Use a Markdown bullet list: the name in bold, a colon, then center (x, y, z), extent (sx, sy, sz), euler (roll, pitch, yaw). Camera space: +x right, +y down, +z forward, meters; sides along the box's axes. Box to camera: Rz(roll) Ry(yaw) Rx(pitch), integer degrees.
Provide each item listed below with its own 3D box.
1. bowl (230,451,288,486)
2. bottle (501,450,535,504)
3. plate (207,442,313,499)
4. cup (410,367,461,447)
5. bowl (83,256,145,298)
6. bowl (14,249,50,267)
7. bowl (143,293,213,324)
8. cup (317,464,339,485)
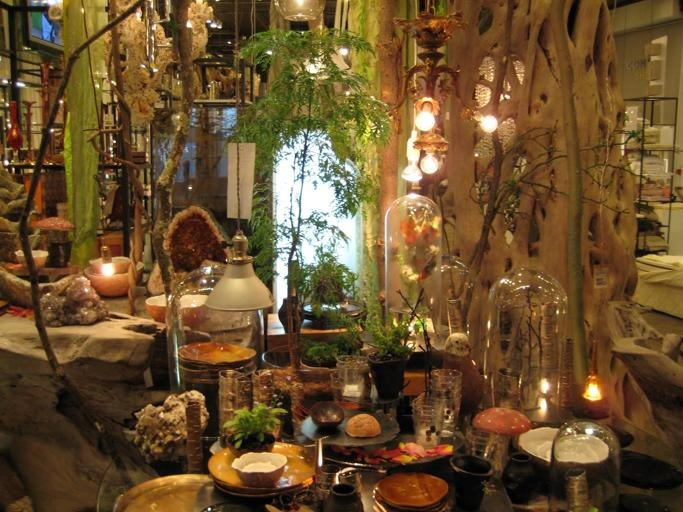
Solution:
- **bowl**: center (-0.367, 0.966, 2.696), extent (0.251, 0.105, 0.204), euler (1, 1, -6)
- **bottle**: center (0.782, 1.044, 2.777), extent (0.145, 0.190, 0.198), euler (-2, -14, 14)
- **plate**: center (-0.380, 0.998, 2.681), extent (0.259, 0.046, 0.264), euler (2, 4, 31)
- **cup**: center (0.474, 0.758, 2.981), extent (0.236, 0.304, 0.312), euler (-1, -5, 7)
- **bowl**: center (-2.250, 0.217, 6.053), extent (0.552, 0.364, 0.562), euler (0, 2, 0)
- **bowl**: center (-2.335, 0.023, 4.539), extent (0.158, 0.080, 0.159), euler (-1, 4, 0)
- **bowl**: center (-1.116, 0.370, 4.124), extent (0.313, 0.137, 0.321), euler (0, 4, 0)
- **cup**: center (-0.065, 0.964, 2.600), extent (0.096, 0.078, 0.068), euler (1, 2, 13)
